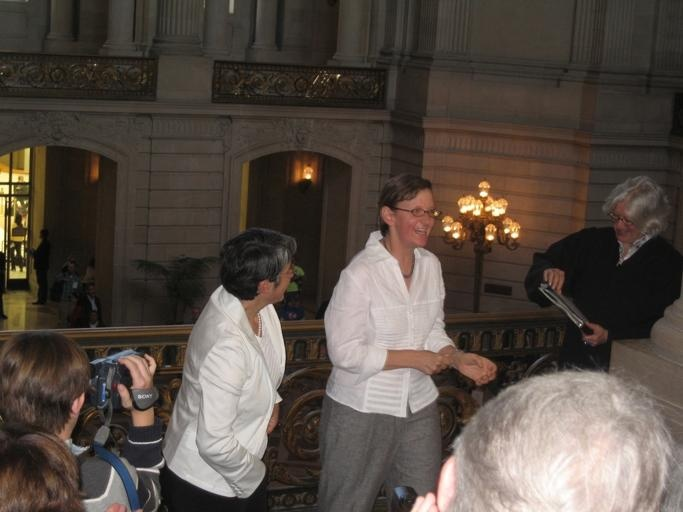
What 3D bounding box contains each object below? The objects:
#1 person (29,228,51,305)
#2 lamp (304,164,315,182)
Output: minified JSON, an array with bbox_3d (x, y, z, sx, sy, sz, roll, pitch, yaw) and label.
[{"bbox_3d":[-6.874,0.242,17.401,0.373,1.768,1.137,3,4,-22],"label":"person"},{"bbox_3d":[-0.816,-2.111,19.103,0.303,0.429,0.179,5,4,-2],"label":"lamp"}]
